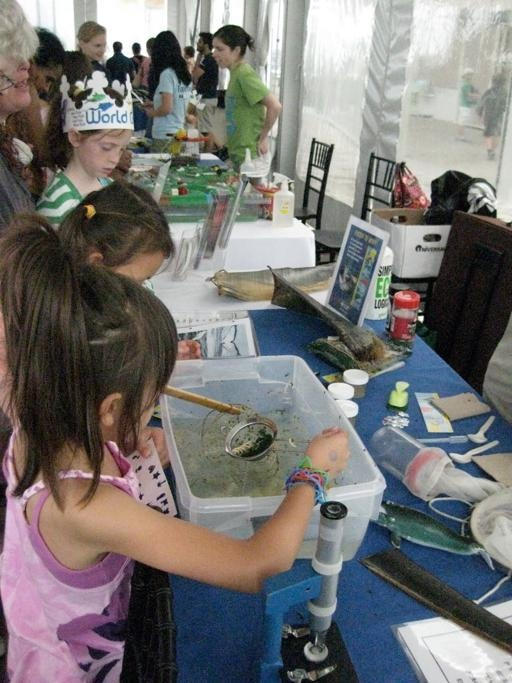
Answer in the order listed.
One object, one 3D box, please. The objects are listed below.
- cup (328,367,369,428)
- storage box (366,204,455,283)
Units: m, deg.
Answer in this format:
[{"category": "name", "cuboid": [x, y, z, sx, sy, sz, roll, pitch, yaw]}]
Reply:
[{"category": "cup", "cuboid": [0.201, 0.113, 1.187, 0.057, 0.036, 0.156, 5, 18, 3]}, {"category": "storage box", "cuboid": [0.755, -0.563, 2.924, 0.429, 0.323, 0.522, -3, 21, -5]}]
